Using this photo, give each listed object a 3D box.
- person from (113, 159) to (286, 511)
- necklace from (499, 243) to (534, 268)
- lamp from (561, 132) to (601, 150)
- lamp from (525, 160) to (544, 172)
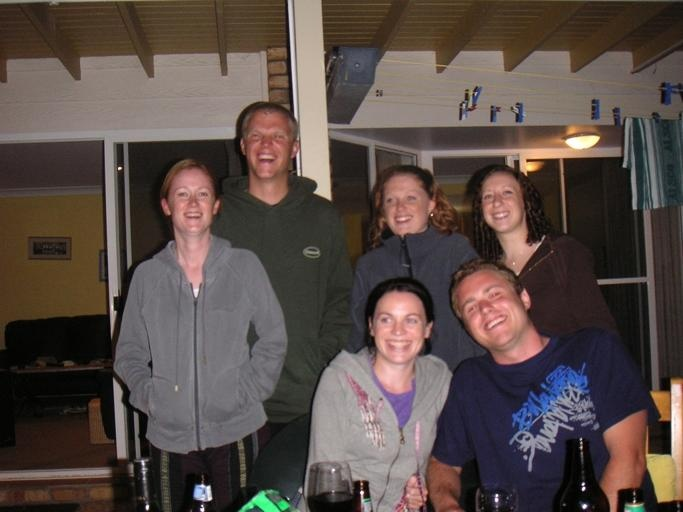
[{"bbox_3d":[-0.738,0.388,3.453,0.889,1.773,0.224,-4,-2,-5],"label":"person"},{"bbox_3d":[1.022,0.008,3.924,0.155,0.112,0.121,3,4,40],"label":"necklace"},{"bbox_3d":[2.380,-1.145,6.659,0.283,0.149,0.220,-3,-2,-9],"label":"lamp"},{"bbox_3d":[2.090,-0.967,7.269,0.141,0.079,0.136,1,-6,-2],"label":"lamp"}]
